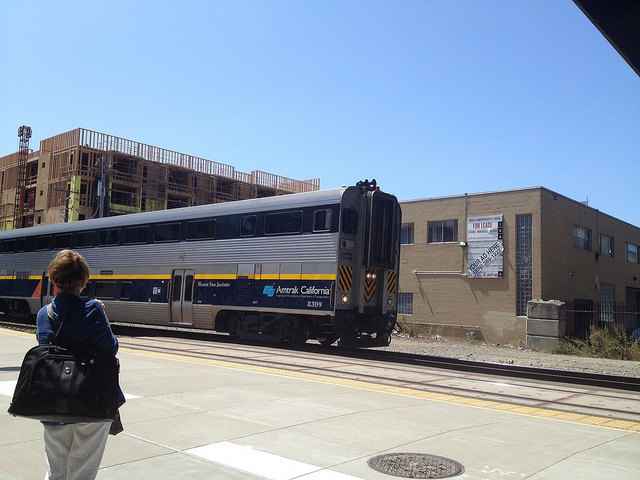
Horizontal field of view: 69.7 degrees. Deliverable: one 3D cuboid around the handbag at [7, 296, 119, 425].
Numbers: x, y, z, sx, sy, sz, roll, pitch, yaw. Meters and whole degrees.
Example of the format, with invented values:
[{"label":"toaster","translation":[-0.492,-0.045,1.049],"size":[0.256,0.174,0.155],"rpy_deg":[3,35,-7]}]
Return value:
[{"label":"handbag","translation":[-1.775,0.861,3.227],"size":[0.676,0.873,0.296],"rpy_deg":[2,-7,1]}]
